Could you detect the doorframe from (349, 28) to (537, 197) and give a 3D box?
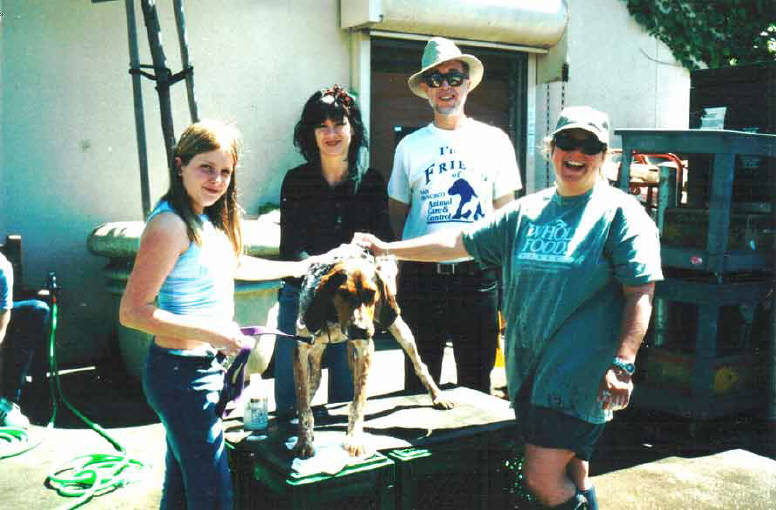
[{"bbox_3d":[0.689,-2.197,10.066,2.632,2.529,1.469,-1,11,-10],"label":"doorframe"}]

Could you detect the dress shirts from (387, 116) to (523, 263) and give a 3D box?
[{"bbox_3d":[0.533,-0.592,6.542,1.051,1.054,0.592,-1,19,1],"label":"dress shirts"}]

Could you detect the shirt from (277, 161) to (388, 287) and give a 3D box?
[{"bbox_3d":[-0.422,-0.220,5.937,0.897,0.956,0.492,-1,6,-9],"label":"shirt"}]

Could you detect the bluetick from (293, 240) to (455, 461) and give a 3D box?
[{"bbox_3d":[-0.195,0.708,6.378,1.333,1.497,2.173,0,4,2],"label":"bluetick"}]

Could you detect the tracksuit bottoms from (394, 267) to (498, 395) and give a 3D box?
[{"bbox_3d":[0.493,0.594,6.425,1.018,1.379,0.453,-1,3,0],"label":"tracksuit bottoms"}]

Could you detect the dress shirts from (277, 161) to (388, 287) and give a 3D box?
[{"bbox_3d":[-0.379,-0.384,6.216,0.830,0.921,0.447,-4,45,-5],"label":"dress shirts"}]

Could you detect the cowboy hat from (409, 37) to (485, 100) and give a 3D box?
[{"bbox_3d":[0.443,-1.603,6.637,0.609,0.343,0.636,-14,-15,-22],"label":"cowboy hat"}]
